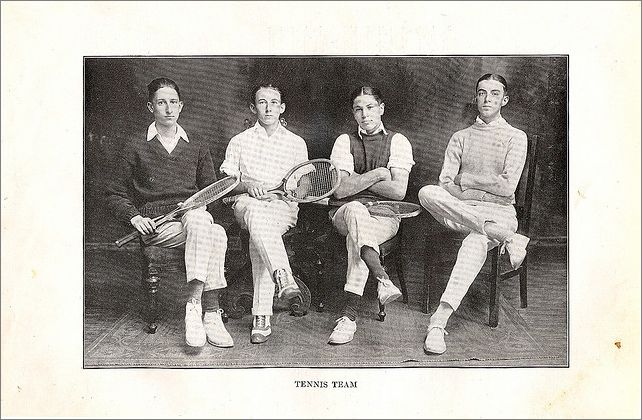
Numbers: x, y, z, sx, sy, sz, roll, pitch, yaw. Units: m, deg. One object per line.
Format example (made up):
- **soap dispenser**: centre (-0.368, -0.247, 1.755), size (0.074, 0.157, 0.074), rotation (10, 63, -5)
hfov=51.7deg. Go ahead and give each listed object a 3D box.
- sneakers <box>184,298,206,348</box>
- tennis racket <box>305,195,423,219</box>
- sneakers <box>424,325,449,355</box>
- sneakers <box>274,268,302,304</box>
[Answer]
- **sneakers**: centre (-1.187, 1.058, 6.238), size (0.166, 0.453, 0.182), rotation (-3, -10, -6)
- **tennis racket**: centre (0.519, -0.008, 6.301), size (0.855, 0.086, 0.346), rotation (1, 23, -1)
- **sneakers**: centre (1.080, 1.236, 6.285), size (0.187, 0.279, 0.119), rotation (2, -24, 10)
- **sneakers**: centre (-0.345, 0.701, 6.185), size (0.153, 0.155, 0.383), rotation (52, 6, -39)
